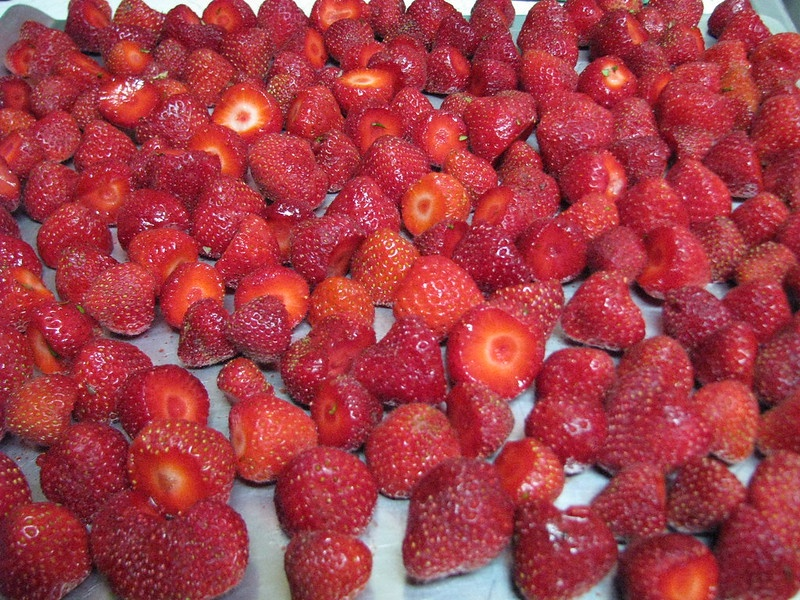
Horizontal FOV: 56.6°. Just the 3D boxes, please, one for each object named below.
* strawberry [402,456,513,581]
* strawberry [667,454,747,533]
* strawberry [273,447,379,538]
[{"bbox_3d":[0.102,0.395,1.367,0.215,0.061,0.198,-12,84,-1],"label":"strawberry"},{"bbox_3d":[0.583,0.371,1.439,0.078,0.133,0.150,21,57,-33],"label":"strawberry"},{"bbox_3d":[-0.146,0.362,1.413,0.196,0.059,0.164,-1,84,1],"label":"strawberry"}]
